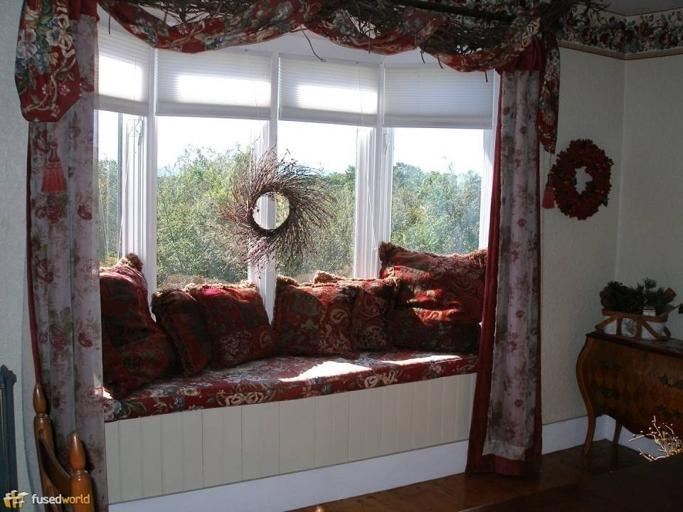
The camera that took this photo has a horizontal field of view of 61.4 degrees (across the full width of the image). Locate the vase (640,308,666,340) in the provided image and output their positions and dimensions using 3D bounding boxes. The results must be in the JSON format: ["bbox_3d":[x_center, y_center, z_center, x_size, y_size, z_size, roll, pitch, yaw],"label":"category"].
[{"bbox_3d":[2.045,0.446,3.820,0.166,0.164,0.197,-2,0,28],"label":"vase"}]

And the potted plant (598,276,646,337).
[{"bbox_3d":[1.891,0.347,3.895,0.292,0.376,0.165,-1,-4,37],"label":"potted plant"}]
